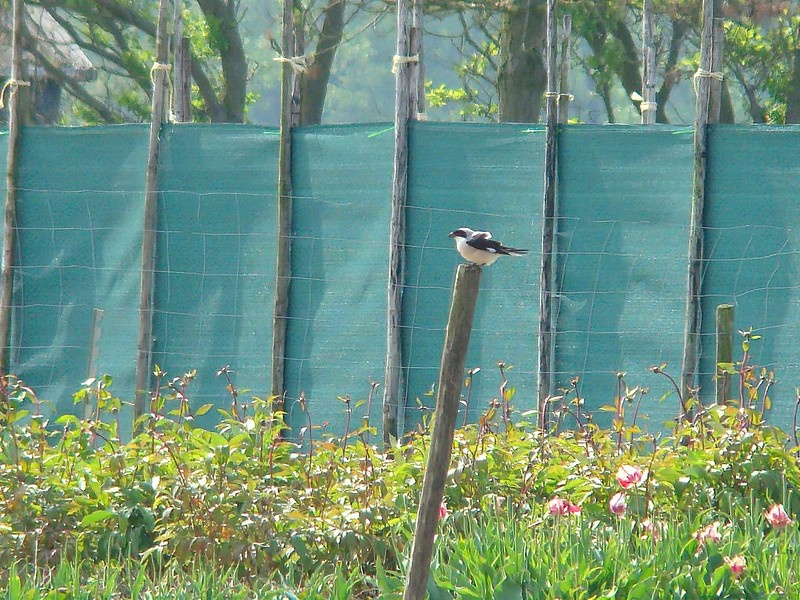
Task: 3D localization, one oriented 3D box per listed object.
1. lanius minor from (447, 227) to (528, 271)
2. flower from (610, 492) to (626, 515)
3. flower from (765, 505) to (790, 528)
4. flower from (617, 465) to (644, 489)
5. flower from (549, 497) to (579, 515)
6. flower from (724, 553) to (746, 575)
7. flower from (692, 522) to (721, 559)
[{"bbox_3d":[1.006,-0.587,23.703,0.972,0.392,0.312,2,7,-20],"label":"lanius minor"},{"bbox_3d":[2.318,2.124,22.197,0.180,0.242,0.410,3,-8,8],"label":"flower"},{"bbox_3d":[3.943,2.224,22.004,0.237,0.215,0.260,-15,7,-1],"label":"flower"},{"bbox_3d":[2.456,1.809,22.203,0.241,0.270,0.162,-31,23,19],"label":"flower"},{"bbox_3d":[1.723,2.168,22.105,0.235,0.105,0.209,6,-29,-7],"label":"flower"},{"bbox_3d":[3.456,2.665,21.588,0.205,0.160,0.207,3,4,5],"label":"flower"},{"bbox_3d":[3.239,2.434,21.746,0.102,0.307,0.319,29,-26,-20],"label":"flower"}]
